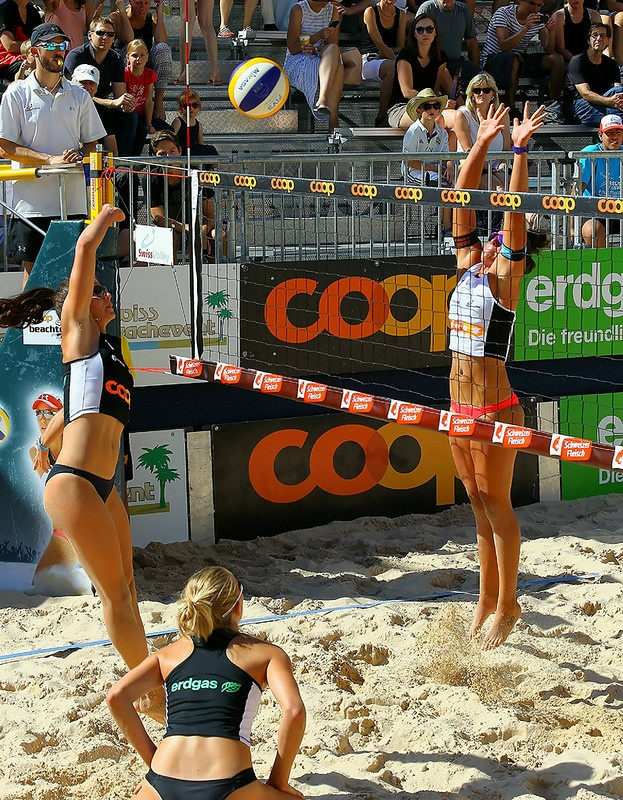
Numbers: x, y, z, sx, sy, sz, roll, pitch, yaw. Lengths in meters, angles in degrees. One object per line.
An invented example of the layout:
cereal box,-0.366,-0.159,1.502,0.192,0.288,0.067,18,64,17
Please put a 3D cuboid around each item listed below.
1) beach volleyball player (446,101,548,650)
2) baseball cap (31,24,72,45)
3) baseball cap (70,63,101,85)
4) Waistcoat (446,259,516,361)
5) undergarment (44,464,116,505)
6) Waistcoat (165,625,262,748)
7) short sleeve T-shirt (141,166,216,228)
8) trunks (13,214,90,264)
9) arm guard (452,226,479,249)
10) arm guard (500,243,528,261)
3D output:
beach volleyball player,0.727,-0.044,3.920,0.363,2.216,0.483,0,8,8
baseball cap,-1.387,-1.924,5.216,0.130,0.097,0.174,-24,7,-42
baseball cap,-1.415,-2.025,6.162,0.172,0.140,0.254,3,1,-7
Waistcoat,0.644,-0.347,3.891,0.149,0.378,0.370,-5,9,-27
undergarment,-0.772,0.251,3.243,0.149,0.046,0.162,15,4,12
Waistcoat,-0.247,0.715,2.458,0.246,0.176,0.339,-3,48,11
short sleeve T-shirt,-0.732,-1.134,5.494,0.405,0.312,0.573,-1,54,-5
trunks,-1.410,-0.832,5.195,0.395,0.308,0.229,2,2,1
arm guard,0.617,-0.653,3.952,0.076,0.053,0.079,-18,17,19
arm guard,0.754,-0.563,3.688,0.066,0.044,0.070,15,17,35
